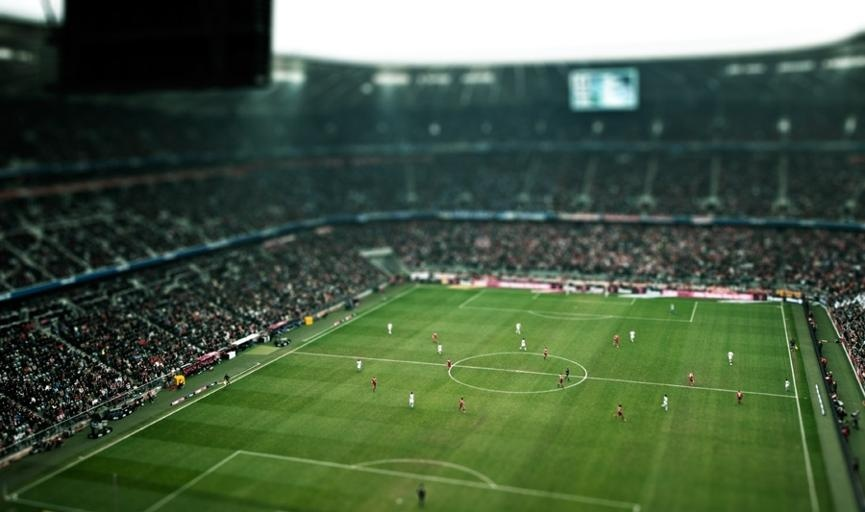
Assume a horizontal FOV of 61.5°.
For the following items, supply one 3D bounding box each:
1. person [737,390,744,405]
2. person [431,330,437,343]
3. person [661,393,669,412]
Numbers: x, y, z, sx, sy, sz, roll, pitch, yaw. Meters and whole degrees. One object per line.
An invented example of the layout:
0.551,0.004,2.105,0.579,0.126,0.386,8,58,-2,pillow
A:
28.306,12.795,66.931,0.594,1.065,1.810,5,19,22,person
0.098,9.077,81.606,0.966,1.251,0.752,-3,-4,7,person
21.260,13.437,66.579,0.486,1.377,0.511,-1,54,12,person
